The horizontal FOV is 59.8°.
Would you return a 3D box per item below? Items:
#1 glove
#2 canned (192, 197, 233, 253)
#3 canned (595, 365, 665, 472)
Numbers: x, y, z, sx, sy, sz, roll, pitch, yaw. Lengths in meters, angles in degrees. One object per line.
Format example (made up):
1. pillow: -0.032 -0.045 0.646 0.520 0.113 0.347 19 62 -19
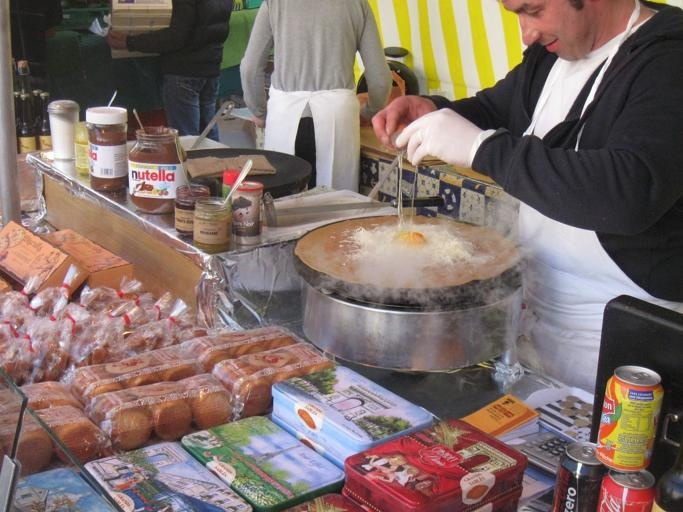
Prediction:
1. glove: 0.281 -0.347 1.739 0.324 0.165 0.114 18 25 39
2. canned: -0.407 -0.102 1.887 0.123 0.137 0.163 -3 20 -13
3. canned: 0.498 0.281 1.026 0.097 0.166 0.078 -11 22 -31
